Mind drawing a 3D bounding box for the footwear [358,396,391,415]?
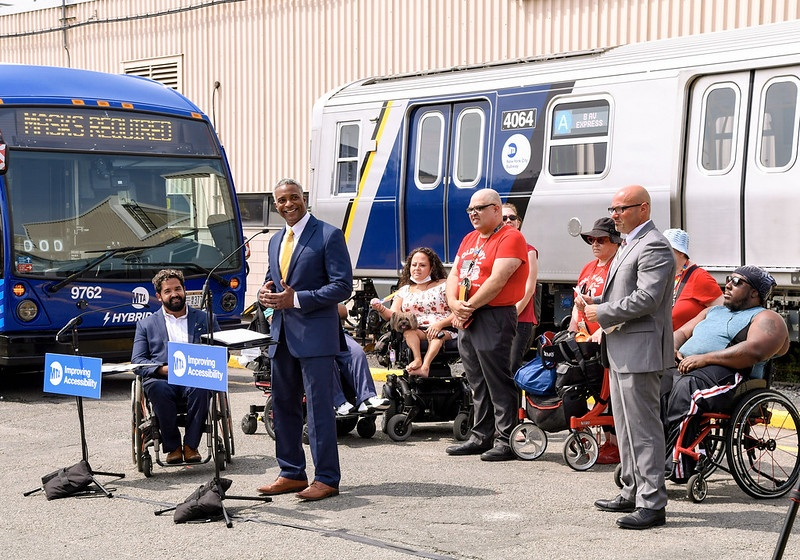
[{"bbox_3d":[-0.219,1.279,9.808,0.404,0.192,0.140,-10,-12,37],"label":"footwear"}]

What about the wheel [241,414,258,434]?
[{"bbox_3d":[-1.636,1.574,10.417,0.089,0.161,0.151,3,36,-29],"label":"wheel"}]

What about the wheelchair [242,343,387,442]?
[{"bbox_3d":[-1.069,1.168,10.066,0.978,1.459,1.516,5,-9,-43],"label":"wheelchair"}]

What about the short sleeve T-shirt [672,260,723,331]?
[{"bbox_3d":[2.834,0.172,9.172,0.638,0.612,0.357,8,-2,31],"label":"short sleeve T-shirt"}]

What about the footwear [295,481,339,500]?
[{"bbox_3d":[-0.701,1.804,8.161,0.357,0.157,0.133,10,-18,-42],"label":"footwear"}]

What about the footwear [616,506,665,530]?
[{"bbox_3d":[1.896,1.886,7.578,0.366,0.164,0.151,2,-8,-14],"label":"footwear"}]

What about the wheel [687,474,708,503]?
[{"bbox_3d":[2.496,1.757,8.056,0.237,0.218,0.074,2,-10,-26],"label":"wheel"}]

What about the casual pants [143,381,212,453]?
[{"bbox_3d":[-2.090,1.293,9.169,0.527,0.928,0.773,5,-13,-22],"label":"casual pants"}]

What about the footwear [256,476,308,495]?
[{"bbox_3d":[-1.011,1.759,8.272,0.432,0.180,0.159,3,-5,-20],"label":"footwear"}]

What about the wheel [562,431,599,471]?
[{"bbox_3d":[1.709,1.625,9.026,0.374,0.394,0.112,1,2,-13],"label":"wheel"}]

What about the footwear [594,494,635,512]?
[{"bbox_3d":[1.754,1.842,7.880,0.305,0.121,0.130,2,-3,13],"label":"footwear"}]

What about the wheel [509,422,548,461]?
[{"bbox_3d":[1.239,1.574,9.351,0.413,0.409,0.161,-2,1,-7],"label":"wheel"}]

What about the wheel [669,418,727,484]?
[{"bbox_3d":[2.520,1.442,8.181,0.765,0.611,0.266,0,1,-29],"label":"wheel"}]

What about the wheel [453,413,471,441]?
[{"bbox_3d":[0.657,1.550,10.058,0.091,0.279,0.284,-5,-7,40],"label":"wheel"}]

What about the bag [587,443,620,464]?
[{"bbox_3d":[1.970,1.664,9.184,0.160,0.169,0.266,-5,-8,42],"label":"bag"}]

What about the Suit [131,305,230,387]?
[{"bbox_3d":[-2.188,0.585,9.478,1.068,0.865,0.611,-3,-6,-20],"label":"Suit"}]

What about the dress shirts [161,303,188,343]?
[{"bbox_3d":[-2.195,0.477,9.412,0.225,0.298,0.312,-2,-7,-21],"label":"dress shirts"}]

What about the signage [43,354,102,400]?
[{"bbox_3d":[-2.896,0.853,8.540,0.284,0.382,0.738,0,1,-42],"label":"signage"}]

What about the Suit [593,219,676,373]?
[{"bbox_3d":[1.894,0.133,7.706,0.599,1.230,0.421,0,1,16],"label":"Suit"}]

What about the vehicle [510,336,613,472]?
[{"bbox_3d":[1.669,1.215,9.473,1.207,1.411,1.046,4,-6,-18],"label":"vehicle"}]

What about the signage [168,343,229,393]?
[{"bbox_3d":[-1.686,0.717,8.001,0.753,0.361,0.117,1,1,37],"label":"signage"}]

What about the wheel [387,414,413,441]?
[{"bbox_3d":[-0.013,1.548,10.099,0.287,0.283,0.109,-1,2,-11],"label":"wheel"}]

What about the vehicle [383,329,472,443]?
[{"bbox_3d":[0.307,1.179,10.216,0.869,1.217,1.101,0,1,-4],"label":"vehicle"}]

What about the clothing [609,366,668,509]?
[{"bbox_3d":[1.908,1.281,7.691,0.457,1.103,0.317,1,1,22],"label":"clothing"}]

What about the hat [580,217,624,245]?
[{"bbox_3d":[1.953,-0.468,9.180,0.266,0.175,0.286,5,8,15],"label":"hat"}]

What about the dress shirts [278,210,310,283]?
[{"bbox_3d":[-0.933,-0.293,8.198,0.130,0.534,0.310,16,-7,-35],"label":"dress shirts"}]

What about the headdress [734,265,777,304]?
[{"bbox_3d":[3.097,-0.015,8.502,0.315,0.218,0.336,18,11,-39],"label":"headdress"}]
